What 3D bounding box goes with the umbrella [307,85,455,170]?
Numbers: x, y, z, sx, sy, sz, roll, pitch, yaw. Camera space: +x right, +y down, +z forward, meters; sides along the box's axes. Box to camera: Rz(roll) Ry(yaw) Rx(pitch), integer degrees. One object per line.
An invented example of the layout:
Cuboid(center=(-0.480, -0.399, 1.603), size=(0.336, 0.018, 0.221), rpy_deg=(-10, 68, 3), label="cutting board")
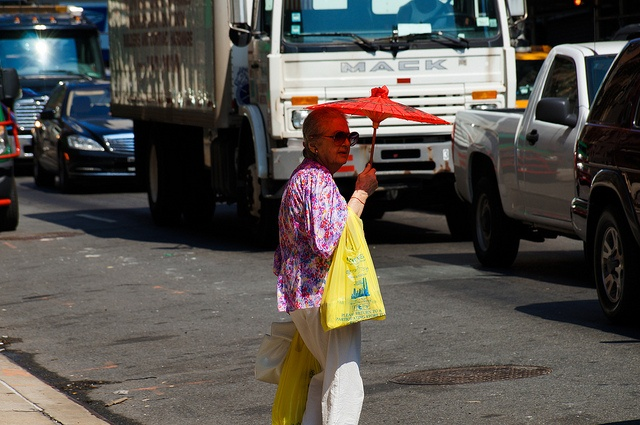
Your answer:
Cuboid(center=(0.371, -0.721, 6.380), size=(0.737, 0.385, 0.719), rpy_deg=(14, 13, 43), label="umbrella")
